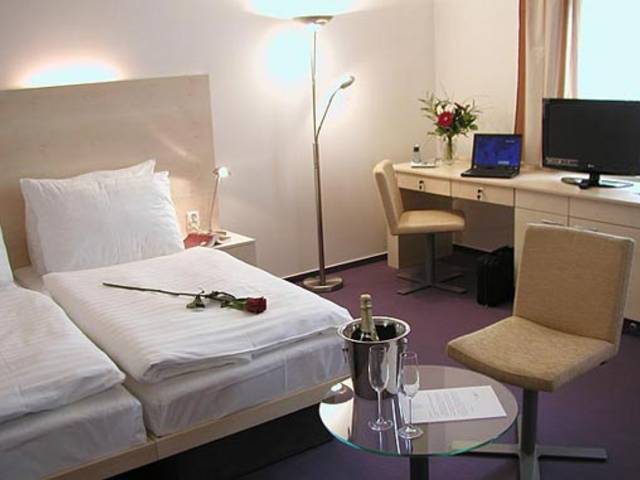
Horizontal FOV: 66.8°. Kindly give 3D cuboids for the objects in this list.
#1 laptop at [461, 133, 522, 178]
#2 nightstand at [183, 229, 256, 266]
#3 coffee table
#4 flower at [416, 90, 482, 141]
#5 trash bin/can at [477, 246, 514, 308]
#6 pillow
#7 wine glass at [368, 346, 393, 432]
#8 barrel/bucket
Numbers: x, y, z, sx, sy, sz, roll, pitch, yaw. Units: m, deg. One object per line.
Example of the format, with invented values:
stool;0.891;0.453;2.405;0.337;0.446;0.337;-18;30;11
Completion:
laptop;1.372;-0.667;3.852;0.468;0.341;0.413;6;18;31
nightstand;-0.731;0.018;3.660;0.332;0.204;0.319;-10;19;-34
coffee table;0.345;0.531;1.723;0.509;0.327;0.516;4;20;20
flower;1.208;-1.121;4.417;0.557;0.424;0.545;-6;20;-21
trash bin/can;1.350;0.307;3.733;0.370;0.462;0.157;-13;16;-38
pillow;-1.550;-0.103;3.210;0.749;0.514;0.262;-12;2;-26
wine glass;0.215;0.511;1.739;0.079;0.287;0.175;-1;15;7
barrel/bucket;0.191;0.423;1.874;0.289;0.240;0.292;-2;24;1
